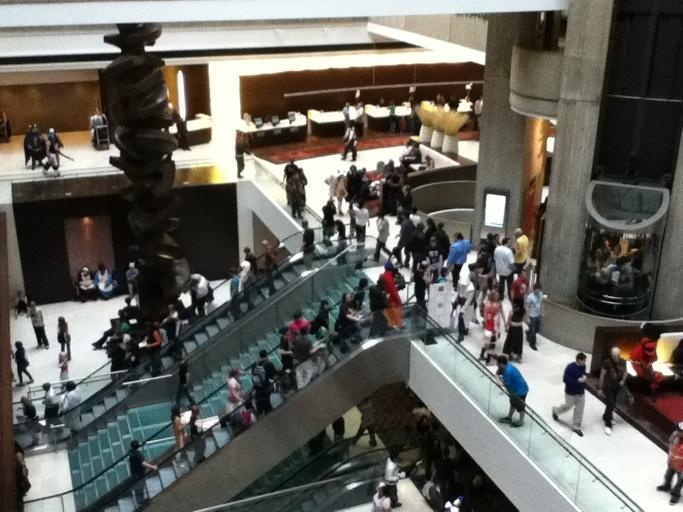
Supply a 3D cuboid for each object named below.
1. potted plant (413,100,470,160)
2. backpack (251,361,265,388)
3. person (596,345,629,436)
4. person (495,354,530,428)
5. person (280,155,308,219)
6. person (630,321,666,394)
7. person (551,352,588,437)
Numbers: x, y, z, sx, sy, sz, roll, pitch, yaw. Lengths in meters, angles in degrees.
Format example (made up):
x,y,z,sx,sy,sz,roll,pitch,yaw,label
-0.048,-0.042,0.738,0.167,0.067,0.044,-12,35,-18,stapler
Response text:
x,y,z,sx,sy,sz,roll,pitch,yaw,label
3.993,-5.026,23.654,1.265,2.018,2.788,-19,44,-27,potted plant
-1.853,2.588,12.958,0.250,0.462,0.402,-13,17,-31,backpack
4.885,2.309,10.588,0.400,1.695,0.717,4,16,28,person
3.043,2.389,10.340,0.401,1.185,0.895,-7,15,-14,person
-1.373,-2.224,18.963,0.586,2.089,1.058,-5,-5,-10,person
5.727,1.995,11.033,0.786,1.466,0.499,-11,10,-28,person
4.093,2.351,10.561,0.550,1.682,0.830,2,16,22,person
